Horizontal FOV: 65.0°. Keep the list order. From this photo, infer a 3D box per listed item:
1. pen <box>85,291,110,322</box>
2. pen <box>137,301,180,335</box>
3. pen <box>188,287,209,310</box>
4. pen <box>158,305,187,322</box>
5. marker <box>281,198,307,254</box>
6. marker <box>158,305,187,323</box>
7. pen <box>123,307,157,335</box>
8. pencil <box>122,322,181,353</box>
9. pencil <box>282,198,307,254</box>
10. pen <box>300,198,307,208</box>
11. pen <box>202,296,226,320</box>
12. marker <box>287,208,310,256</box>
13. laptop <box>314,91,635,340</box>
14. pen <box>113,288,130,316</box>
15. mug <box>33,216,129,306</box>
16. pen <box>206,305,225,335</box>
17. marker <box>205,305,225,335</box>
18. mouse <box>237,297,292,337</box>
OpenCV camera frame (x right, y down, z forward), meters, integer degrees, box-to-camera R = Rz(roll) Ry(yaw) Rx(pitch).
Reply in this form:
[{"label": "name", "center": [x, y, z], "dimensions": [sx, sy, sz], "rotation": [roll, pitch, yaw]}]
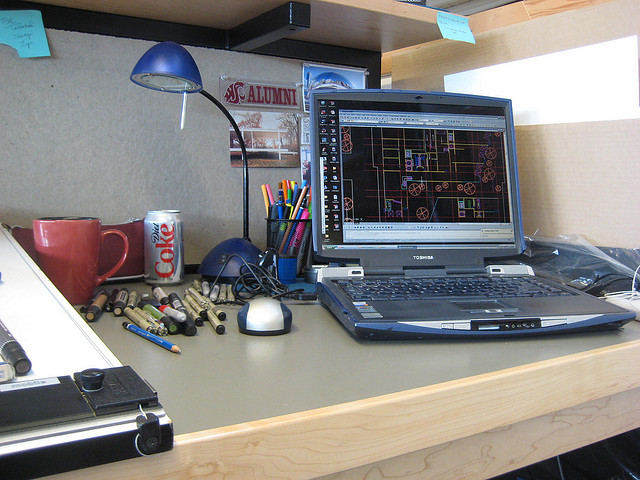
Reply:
[{"label": "pen", "center": [-0.364, 0.112, 0.820], "dimensions": [0.022, 0.015, 0.096], "rotation": [3, 15, -12]}, {"label": "pen", "center": [-0.254, 0.117, 0.766], "dimensions": [0.029, 0.020, 0.138], "rotation": [3, 13, -38]}, {"label": "pen", "center": [-0.207, 0.100, 0.851], "dimensions": [0.017, 0.016, 0.088], "rotation": [-20, 19, -15]}, {"label": "pen", "center": [-0.227, 0.111, 0.776], "dimensions": [0.060, 0.016, 0.016], "rotation": [9, 45, 48]}, {"label": "marker", "center": [-0.056, -0.028, 1.075], "dimensions": [0.012, 0.137, 0.011], "rotation": [32, 2, -26]}, {"label": "marker", "center": [-0.228, 0.111, 0.779], "dimensions": [0.061, 0.015, 0.017], "rotation": [16, -17, 47]}, {"label": "pen", "center": [-0.273, 0.123, 0.761], "dimensions": [0.024, 0.017, 0.101], "rotation": [-31, 31, -32]}, {"label": "pencil", "center": [-0.242, 0.142, 0.722], "dimensions": [0.092, 0.011, 0.009], "rotation": [14, 58, 29]}, {"label": "pencil", "center": [-0.056, -0.029, 1.075], "dimensions": [0.011, 0.138, 0.012], "rotation": [33, -5, 30]}, {"label": "pen", "center": [-0.034, -0.078, 1.074], "dimensions": [0.009, 0.020, 0.005], "rotation": [20, -16, 0]}, {"label": "pen", "center": [-0.167, 0.116, 0.813], "dimensions": [0.018, 0.014, 0.093], "rotation": [-26, 30, -23]}, {"label": "marker", "center": [-0.044, -0.018, 1.076], "dimensions": [0.021, 0.130, 0.019], "rotation": [28, 4, -2]}, {"label": "laptop", "center": [0.216, -0.071, 0.862], "dimensions": [0.451, 0.391, 0.365], "rotation": [-3, 12, -6]}, {"label": "pen", "center": [-0.330, 0.106, 0.855], "dimensions": [0.015, 0.015, 0.076], "rotation": [30, 8, -13]}, {"label": "mug", "center": [-0.411, 0.028, 0.937], "dimensions": [0.231, 0.167, 0.138], "rotation": [-3, 5, -33]}, {"label": "pen", "center": [-0.162, 0.126, 0.773], "dimensions": [0.015, 0.011, 0.066], "rotation": [-3, 10, -26]}, {"label": "marker", "center": [-0.164, 0.125, 0.775], "dimensions": [0.016, 0.011, 0.063], "rotation": [-3, 12, -28]}, {"label": "mouse", "center": [-0.090, 0.110, 0.797], "dimensions": [0.095, 0.037, 0.117], "rotation": [2, 10, -9]}]
